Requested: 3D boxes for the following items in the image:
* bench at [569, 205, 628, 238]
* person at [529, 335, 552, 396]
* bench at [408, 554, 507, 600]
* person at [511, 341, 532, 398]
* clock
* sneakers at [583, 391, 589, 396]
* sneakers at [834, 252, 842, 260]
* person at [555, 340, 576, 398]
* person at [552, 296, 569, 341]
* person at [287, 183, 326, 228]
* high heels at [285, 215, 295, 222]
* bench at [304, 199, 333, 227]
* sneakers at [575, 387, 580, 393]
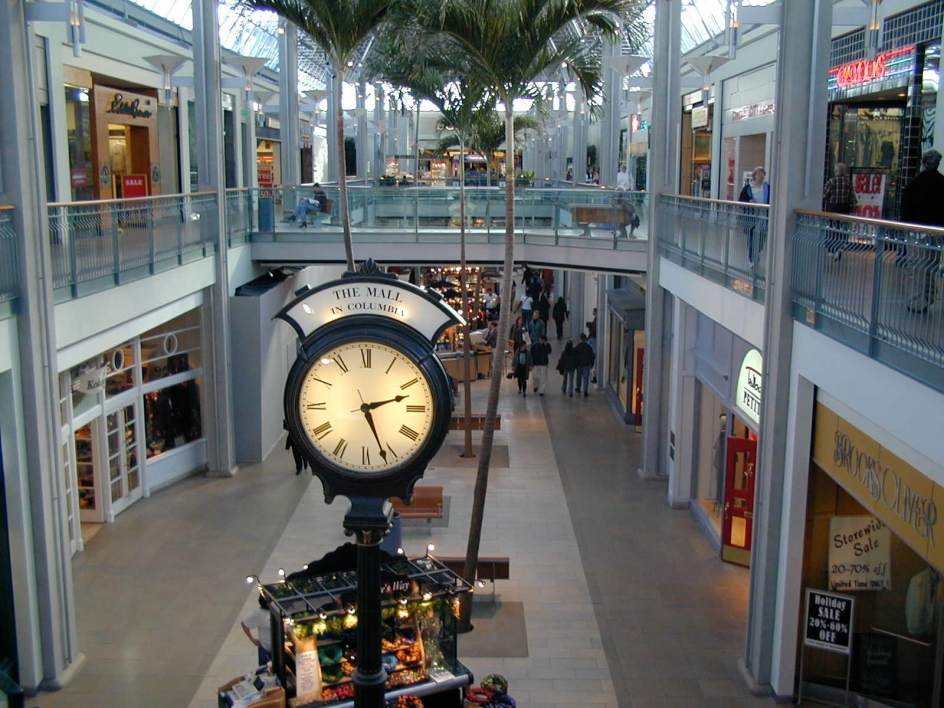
[{"bbox_3d":[2.930,-3.046,17.247,0.289,0.687,1.555,-7,14,-36],"label":"bench"},{"bbox_3d":[1.973,0.263,21.596,0.599,1.868,0.544,0,27,9],"label":"person"},{"bbox_3d":[-0.185,2.790,9.438,0.975,0.443,0.367,2,20,3],"label":"bench"},{"bbox_3d":[1.461,0.409,21.907,0.437,1.524,1.101,1,11,4],"label":"person"},{"bbox_3d":[-0.615,0.313,4.353,0.961,1.024,0.352,2,10,10],"label":"clock"},{"bbox_3d":[3.321,1.158,22.068,0.097,0.191,0.186,0,-5,7],"label":"sneakers"},{"bbox_3d":[3.461,-0.919,7.131,0.037,0.076,0.208,3,12,17],"label":"sneakers"},{"bbox_3d":[2.720,0.407,21.989,0.504,1.565,0.883,1,10,6],"label":"person"},{"bbox_3d":[3.396,-1.345,28.917,0.463,1.588,1.765,1,11,7],"label":"person"},{"bbox_3d":[-4.065,-3.639,18.792,0.452,0.910,1.127,7,13,32],"label":"person"},{"bbox_3d":[-4.440,-3.305,18.484,0.246,0.191,0.091,9,9,6],"label":"high heels"},{"bbox_3d":[-3.818,-3.522,18.871,0.494,0.730,0.648,1,1,7],"label":"bench"},{"bbox_3d":[3.113,1.053,22.178,0.073,0.156,0.143,1,0,-6],"label":"sneakers"}]
